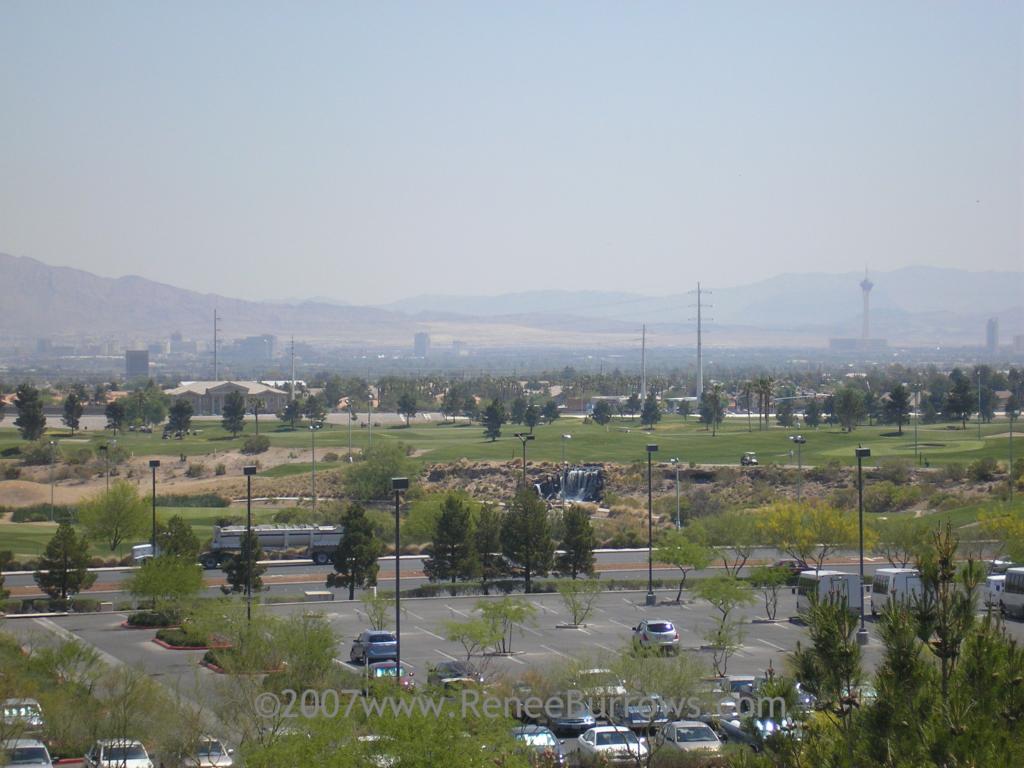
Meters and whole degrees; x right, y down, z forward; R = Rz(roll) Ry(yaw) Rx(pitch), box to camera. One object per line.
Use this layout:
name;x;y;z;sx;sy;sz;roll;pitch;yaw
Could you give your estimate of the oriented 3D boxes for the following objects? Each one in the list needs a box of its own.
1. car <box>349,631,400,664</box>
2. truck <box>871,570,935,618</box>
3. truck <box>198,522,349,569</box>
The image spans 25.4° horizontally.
car;-13.496;25.486;218.933;5.438;3.228;3.197;-1;-2;44
truck;38.080;20.852;222.855;4.864;4.544;8.163;0;2;-9
truck;-25.705;18.726;248.996;18.786;5.702;5.651;0;2;-12
